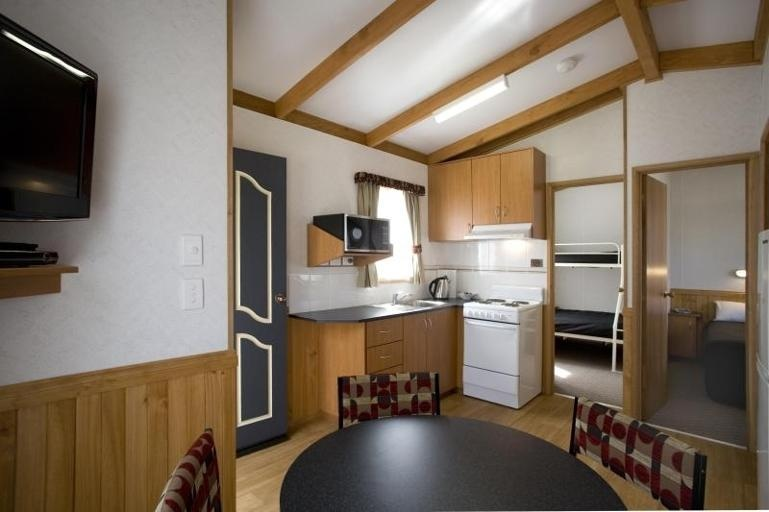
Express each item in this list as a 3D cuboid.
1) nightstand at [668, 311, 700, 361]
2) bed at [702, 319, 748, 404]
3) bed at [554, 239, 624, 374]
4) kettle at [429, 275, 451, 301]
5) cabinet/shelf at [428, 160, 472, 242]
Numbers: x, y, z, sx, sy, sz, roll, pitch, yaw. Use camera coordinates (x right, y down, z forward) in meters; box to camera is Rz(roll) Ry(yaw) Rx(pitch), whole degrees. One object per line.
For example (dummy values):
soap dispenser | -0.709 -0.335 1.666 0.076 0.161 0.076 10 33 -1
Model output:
nightstand | 3.678 0.969 6.311 0.375 0.601 0.208 8 16 28
bed | 3.382 1.014 5.118 0.535 0.873 0.297 -8 -38 33
bed | 2.721 0.675 6.762 0.962 1.174 1.604 -1 -2 29
kettle | 0.642 0.373 5.935 0.299 0.300 0.183 -2 4 -20
cabinet/shelf | 0.712 -0.637 5.812 0.203 0.910 0.716 -12 18 -41
